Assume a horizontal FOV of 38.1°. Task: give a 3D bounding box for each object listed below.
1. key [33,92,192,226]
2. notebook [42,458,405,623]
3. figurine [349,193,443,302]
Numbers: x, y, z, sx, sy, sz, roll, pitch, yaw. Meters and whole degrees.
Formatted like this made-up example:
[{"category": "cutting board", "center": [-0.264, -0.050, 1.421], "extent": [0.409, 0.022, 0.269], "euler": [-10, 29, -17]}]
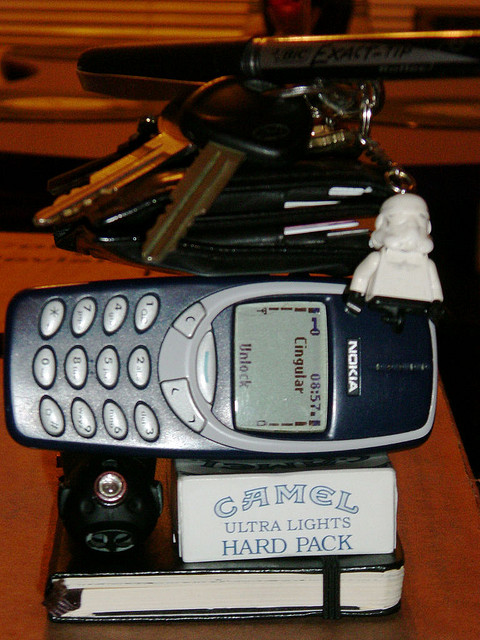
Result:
[{"category": "key", "center": [-0.038, -0.102, 0.424], "extent": [0.172, 0.008, 0.039], "euler": [-29, 57, -15]}, {"category": "notebook", "center": [-0.010, 0.137, 0.427], "extent": [0.213, 0.038, 0.088], "euler": [-1, 37, 0]}, {"category": "figurine", "center": [0.095, -0.041, 0.404], "extent": [0.053, 0.066, 0.042], "euler": [19, 45, 23]}]
